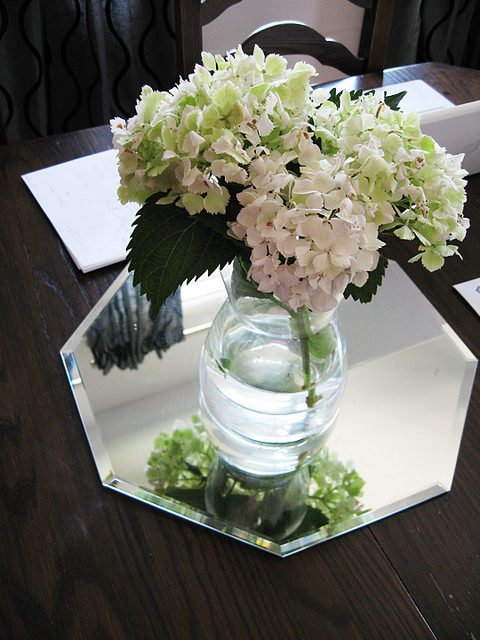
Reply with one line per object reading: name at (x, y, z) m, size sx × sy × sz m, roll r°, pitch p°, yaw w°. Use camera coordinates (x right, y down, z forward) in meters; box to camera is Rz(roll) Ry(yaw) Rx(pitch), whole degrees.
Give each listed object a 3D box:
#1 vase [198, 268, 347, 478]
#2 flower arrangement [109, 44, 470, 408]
vase at (0.033, 0.050, 0.510) m, size 0.146 × 0.242 × 0.146 m, roll -6°, pitch 40°, yaw -10°
flower arrangement at (0.043, -0.043, 0.375) m, size 0.245 × 0.278 × 0.177 m, roll -14°, pitch 44°, yaw -12°
